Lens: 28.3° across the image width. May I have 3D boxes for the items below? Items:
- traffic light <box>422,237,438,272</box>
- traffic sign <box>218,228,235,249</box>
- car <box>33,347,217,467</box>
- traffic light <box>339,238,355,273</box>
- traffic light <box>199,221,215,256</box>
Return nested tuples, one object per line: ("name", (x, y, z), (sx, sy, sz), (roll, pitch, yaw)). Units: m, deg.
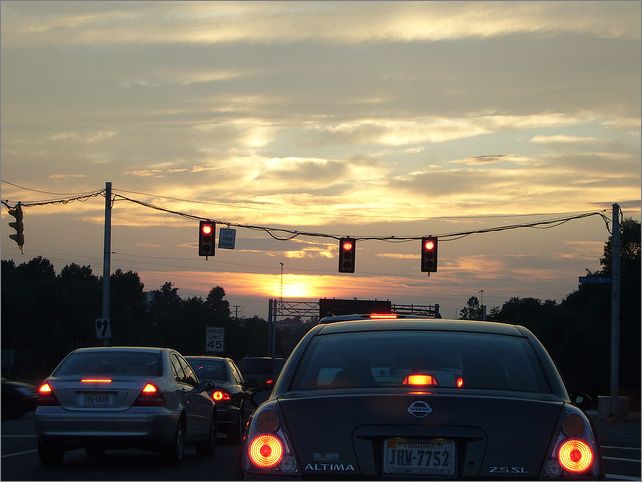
("traffic light", (3.196, 0.419, 38.046), (0.434, 1.080, 0.430), (2, -8, -3))
("traffic sign", (-3.139, -0.072, 41.625), (0.481, 0.649, 0.280), (4, -8, -17))
("car", (-3.022, 2.621, 20.575), (1.681, 1.866, 3.046), (-5, -10, 38))
("traffic light", (0.745, 0.452, 39.334), (0.432, 1.044, 0.545), (2, -8, -5))
("traffic light", (-3.402, -0.063, 37.458), (0.475, 1.055, 0.262), (6, -9, -29))
